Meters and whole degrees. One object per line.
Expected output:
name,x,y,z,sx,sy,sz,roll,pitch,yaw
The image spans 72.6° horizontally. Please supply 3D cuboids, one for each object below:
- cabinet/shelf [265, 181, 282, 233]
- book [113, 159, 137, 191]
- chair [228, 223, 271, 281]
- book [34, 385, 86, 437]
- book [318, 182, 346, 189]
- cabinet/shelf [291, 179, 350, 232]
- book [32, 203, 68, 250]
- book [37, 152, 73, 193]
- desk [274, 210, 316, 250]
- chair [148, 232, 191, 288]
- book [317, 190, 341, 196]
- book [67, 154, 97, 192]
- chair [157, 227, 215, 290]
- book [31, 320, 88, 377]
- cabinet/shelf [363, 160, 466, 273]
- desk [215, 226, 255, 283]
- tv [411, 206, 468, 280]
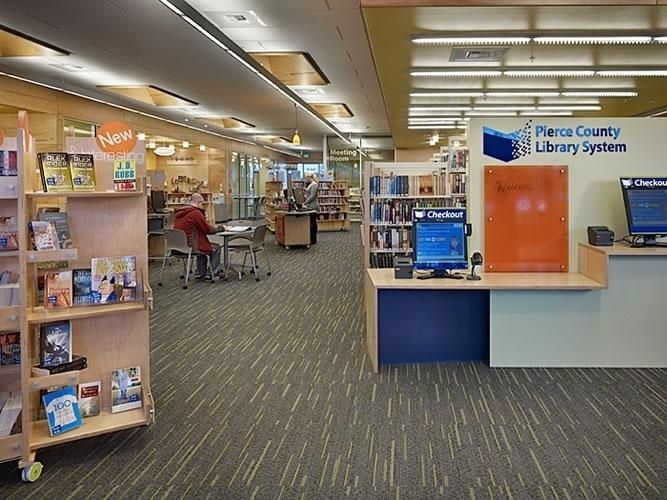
cabinet/shelf,-2.061,-1.505,15.629,0.596,1.808,1.899,0,3,-7
book,-1.557,-0.563,3.401,0.231,0.315,0.031,-2,-13,-9
chair,-1.648,-0.031,8.562,0.903,1.076,0.912,12,16,42
book,-1.920,1.144,3.248,0.216,0.260,0.173,-9,12,-38
book,-0.017,-2.508,17.276,1.099,0.291,0.245,-4,10,-17
cabinet/shelf,-0.498,-1.583,15.386,1.990,1.912,0.657,-1,2,-15
book,-2.033,-0.150,3.287,0.230,0.251,0.392,-7,12,-30
book,-1.990,-0.562,3.261,0.194,0.277,0.227,-7,11,-32
desk,-1.143,-0.686,13.009,0.861,1.053,1.389,-3,14,-16
chair,-2.657,0.103,8.119,0.657,0.952,0.741,4,4,31
book,-0.142,-2.162,17.277,0.955,0.260,0.116,-8,11,-34
book,-1.839,-0.579,3.344,0.157,0.267,0.029,-4,23,-24
chair,-2.645,0.098,8.174,0.943,1.063,0.846,-7,13,-43
book,-1.970,0.691,3.247,0.314,0.341,0.216,-8,11,-35
cabinet/shelf,1.184,-0.653,7.084,1.536,1.530,0.557,-3,26,-9
desk,-2.026,0.022,8.680,0.799,0.869,0.779,0,-2,-4
tv,1.032,-0.073,4.442,0.654,0.858,0.333,0,-3,1
